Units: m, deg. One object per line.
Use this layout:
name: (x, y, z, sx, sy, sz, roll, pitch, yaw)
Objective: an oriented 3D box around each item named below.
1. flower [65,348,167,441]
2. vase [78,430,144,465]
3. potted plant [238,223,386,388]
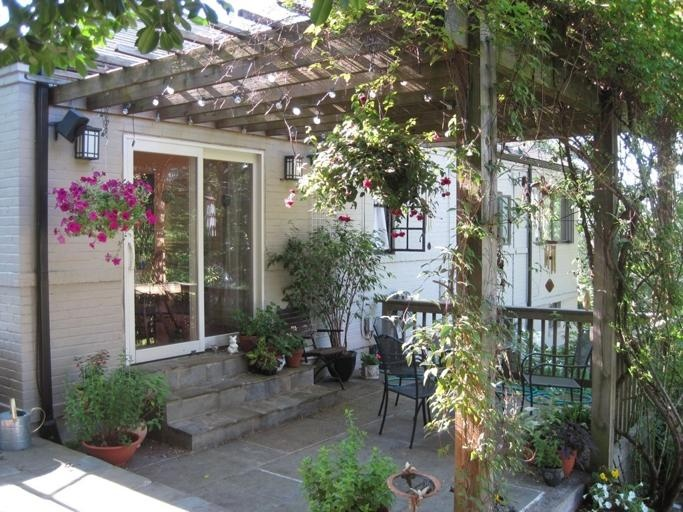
flower: (-2.113, 1.334, 5.377, 0.729, 0.755, 0.567, 5, 5, -17)
vase: (-2.081, 1.804, 5.255, 0.415, 0.189, 0.423, 3, -11, -33)
potted plant: (-0.146, 0.615, 7.887, 0.856, 2.154, 1.690, 4, 4, 40)
